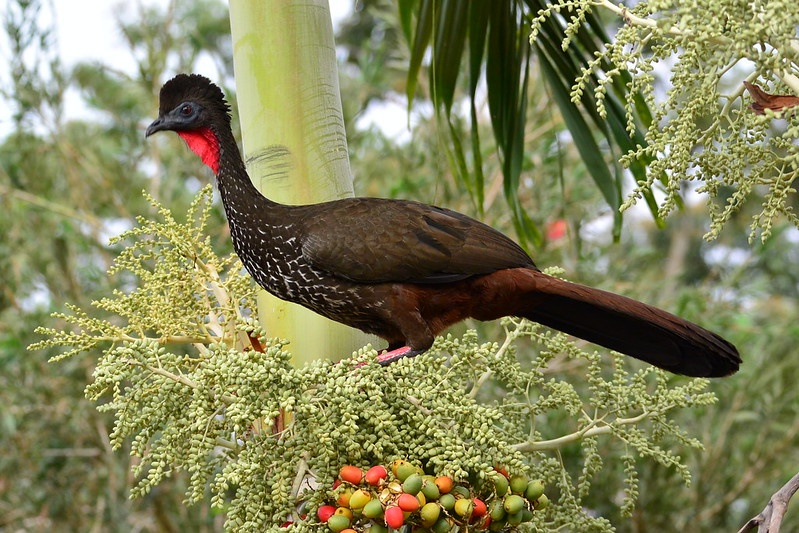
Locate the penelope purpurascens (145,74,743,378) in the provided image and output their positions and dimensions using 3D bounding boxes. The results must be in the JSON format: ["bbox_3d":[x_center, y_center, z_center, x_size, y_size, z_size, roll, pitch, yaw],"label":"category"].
[{"bbox_3d":[0.126,-0.165,3.898,2.346,1.279,0.591,0,1,7],"label":"penelope purpurascens"}]
